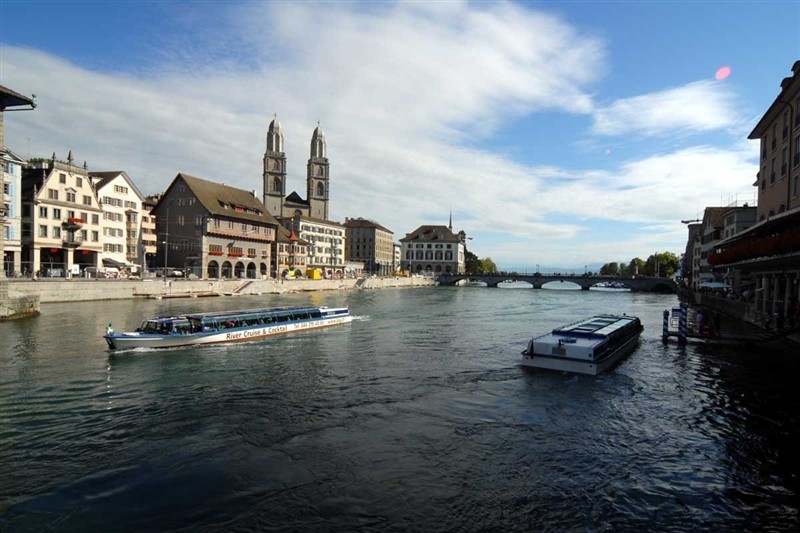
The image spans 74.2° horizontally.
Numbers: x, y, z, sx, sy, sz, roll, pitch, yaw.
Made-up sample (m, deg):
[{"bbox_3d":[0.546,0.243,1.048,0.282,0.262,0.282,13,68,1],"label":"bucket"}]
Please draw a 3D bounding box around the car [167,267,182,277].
[{"bbox_3d":[-39.086,1.076,91.623,2.907,1.154,1.980,-3,1,12],"label":"car"}]

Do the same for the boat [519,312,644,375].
[{"bbox_3d":[15.078,5.726,40.988,4.215,2.242,12.609,2,6,35],"label":"boat"}]
